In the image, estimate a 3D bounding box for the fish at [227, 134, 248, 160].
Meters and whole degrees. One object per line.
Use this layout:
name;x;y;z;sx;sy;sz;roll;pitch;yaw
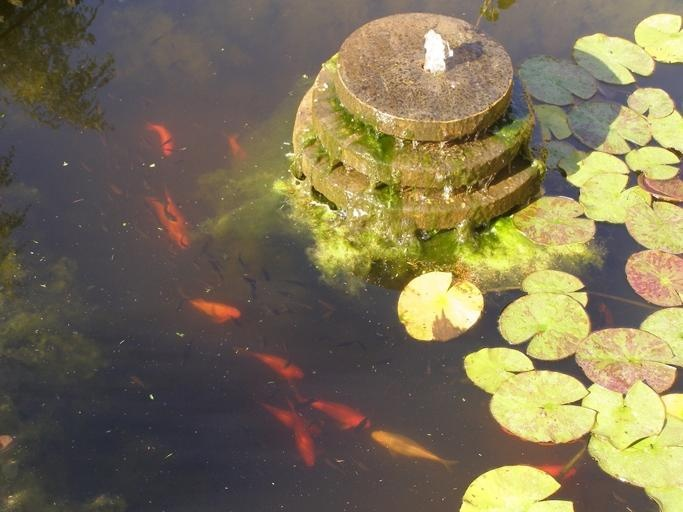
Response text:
fish;-1.322;-1.359;11.096;0.172;0.061;0.507;-10;53;-10
